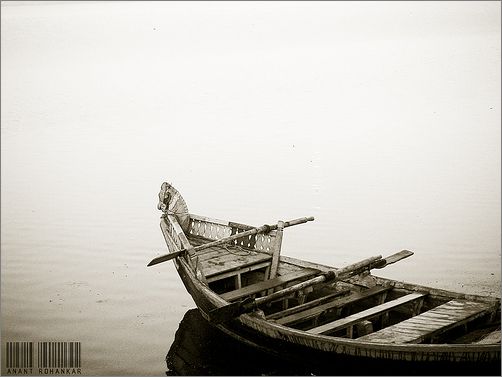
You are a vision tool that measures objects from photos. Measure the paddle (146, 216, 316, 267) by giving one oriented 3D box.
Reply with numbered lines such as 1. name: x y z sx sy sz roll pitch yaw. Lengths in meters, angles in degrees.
1. paddle: -0.278 0.643 8.140 3.161 0.224 0.377 -10 15 -39

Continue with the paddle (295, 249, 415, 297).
1. paddle: 1.227 0.966 7.632 1.350 0.190 0.145 -17 31 -29

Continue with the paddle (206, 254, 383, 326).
1. paddle: 0.458 1.113 7.317 2.043 0.221 0.122 -18 34 -14
